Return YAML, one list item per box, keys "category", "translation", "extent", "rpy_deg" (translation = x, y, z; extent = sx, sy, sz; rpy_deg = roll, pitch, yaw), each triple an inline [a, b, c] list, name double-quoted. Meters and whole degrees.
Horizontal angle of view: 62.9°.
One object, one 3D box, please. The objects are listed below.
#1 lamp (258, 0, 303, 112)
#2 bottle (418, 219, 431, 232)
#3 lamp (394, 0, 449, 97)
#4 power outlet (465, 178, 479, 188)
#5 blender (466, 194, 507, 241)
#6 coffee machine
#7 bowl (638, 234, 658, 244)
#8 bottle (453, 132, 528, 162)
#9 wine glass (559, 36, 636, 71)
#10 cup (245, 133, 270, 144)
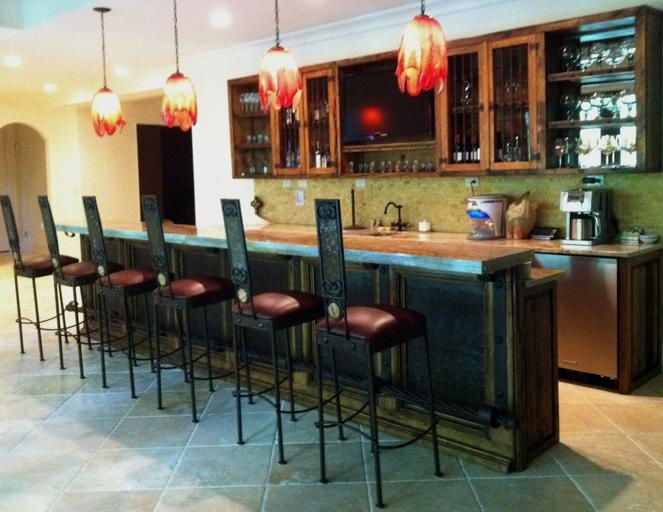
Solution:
- category: "lamp"
  translation: [-0.334, -1.174, 3.518]
  extent: [0.261, 0.429, 0.197]
  rpy_deg: [-4, 12, -6]
- category: "bottle"
  translation: [0.941, -0.298, 5.451]
  extent: [0.127, 0.134, 0.128]
  rpy_deg: [0, 1, 32]
- category: "lamp"
  translation: [0.488, -1.112, 2.929]
  extent: [0.260, 0.469, 0.296]
  rpy_deg: [-1, 12, 7]
- category: "power outlet"
  translation: [1.332, -0.697, 5.142]
  extent: [0.028, 0.074, 0.121]
  rpy_deg: [-5, 8, -42]
- category: "blender"
  translation: [1.383, -0.341, 4.825]
  extent: [0.389, 0.353, 0.316]
  rpy_deg: [-7, 8, -37]
- category: "coffee machine"
  translation: [2.019, -0.314, 4.267]
  extent: [0.308, 0.425, 0.578]
  rpy_deg: [7, 15, 40]
- category: "bowl"
  translation: [2.462, -0.131, 4.212]
  extent: [0.116, 0.063, 0.130]
  rpy_deg: [7, 14, 38]
- category: "bottle"
  translation: [1.384, -0.918, 4.604]
  extent: [0.566, 0.269, 0.141]
  rpy_deg: [5, 5, 34]
- category: "wine glass"
  translation: [2.018, -1.542, 4.178]
  extent: [0.167, 0.228, 0.596]
  rpy_deg: [-12, 15, -41]
- category: "cup"
  translation: [-0.870, -1.392, 6.487]
  extent: [0.187, 0.079, 0.248]
  rpy_deg: [-2, 4, -26]
